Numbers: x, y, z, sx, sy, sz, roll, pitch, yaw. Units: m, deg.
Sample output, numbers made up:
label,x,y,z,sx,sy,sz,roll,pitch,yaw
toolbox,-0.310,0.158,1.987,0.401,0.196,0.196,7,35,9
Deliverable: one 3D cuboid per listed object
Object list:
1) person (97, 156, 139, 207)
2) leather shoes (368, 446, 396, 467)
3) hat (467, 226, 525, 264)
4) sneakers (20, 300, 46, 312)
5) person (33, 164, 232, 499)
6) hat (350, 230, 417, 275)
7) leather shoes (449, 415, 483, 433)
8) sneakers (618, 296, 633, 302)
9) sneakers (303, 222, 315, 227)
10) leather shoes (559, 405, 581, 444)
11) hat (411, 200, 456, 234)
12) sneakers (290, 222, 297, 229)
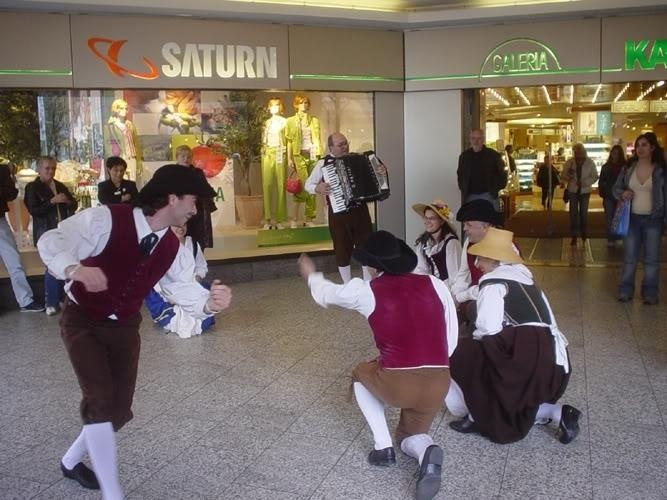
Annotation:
label,x,y,z,sx,sy,sz,roll,pitch,yaw
person,-2.833,-0.858,6.258,0.504,0.755,0.421,-4,10,-42
leather shoes,0.260,1.166,2.737,0.083,0.093,0.188,-3,1,-29
hat,1.025,-0.039,3.021,0.315,0.201,0.336,2,14,21
sneakers,-3.850,0.706,6.193,0.358,0.146,0.133,-4,7,-16
person,-0.948,0.353,2.268,0.671,1.447,0.485,-9,14,-24
hat,0.278,0.009,2.614,0.340,0.218,0.267,-4,13,-4
leather shoes,0.839,1.117,3.083,0.223,0.097,0.078,8,8,15
sneakers,3.678,0.602,6.019,0.195,0.084,0.071,-11,8,-10
sneakers,-0.451,-0.465,8.459,0.182,0.101,0.104,0,4,-10
leather shoes,1.399,1.030,2.866,0.092,0.261,0.109,3,5,11
hat,0.935,-0.384,4.304,0.394,0.125,0.363,15,-5,19
sneakers,-0.715,-0.443,8.451,0.112,0.127,0.113,-1,-7,-12
